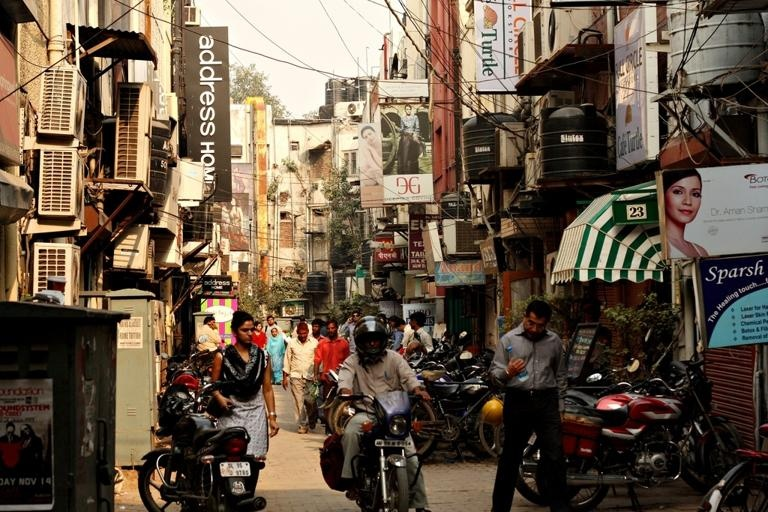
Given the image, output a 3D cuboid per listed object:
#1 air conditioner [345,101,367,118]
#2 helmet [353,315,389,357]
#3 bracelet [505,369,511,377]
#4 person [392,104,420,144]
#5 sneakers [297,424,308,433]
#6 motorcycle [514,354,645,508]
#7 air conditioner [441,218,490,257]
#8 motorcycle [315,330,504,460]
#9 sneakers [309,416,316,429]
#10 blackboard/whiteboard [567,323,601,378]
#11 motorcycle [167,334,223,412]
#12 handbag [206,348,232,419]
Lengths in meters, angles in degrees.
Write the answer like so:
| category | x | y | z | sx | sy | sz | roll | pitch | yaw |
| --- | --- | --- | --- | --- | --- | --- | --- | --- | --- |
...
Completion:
| category | x | y | z | sx | sy | sz | roll | pitch | yaw |
| --- | --- | --- | --- | --- | --- | --- | --- | --- | --- |
| air conditioner | -1.907 | -10.162 | 81.995 | 1.162 | 1.414 | 2.730 | -1 | -3 | -4 |
| helmet | -0.144 | 1.005 | 14.909 | 0.451 | 0.548 | 0.594 | -3 | -3 | 1 |
| bracelet | 1.535 | 1.443 | 14.695 | 0.063 | 0.065 | 0.064 | -3 | 4 | -16 |
| person | 0.913 | -4.659 | 41.891 | 0.716 | 1.333 | 0.514 | -2 | -3 | 3 |
| sneakers | -1.573 | 3.401 | 23.321 | 0.184 | 0.196 | 0.120 | -1 | -1 | -4 |
| motorcycle | 2.732 | 2.481 | 16.269 | 2.367 | 1.621 | 1.346 | -8 | 2 | -29 |
| air conditioner | 2.182 | -0.587 | 34.350 | 1.354 | 1.170 | 0.691 | 0 | 4 | -38 |
| motorcycle | 0.974 | 2.503 | 19.661 | 2.345 | 1.698 | 1.489 | -2 | -8 | -13 |
| sneakers | -1.399 | 3.293 | 23.567 | 0.135 | 0.214 | 0.258 | -1 | -3 | -4 |
| blackboard/whiteboard | 3.181 | 1.510 | 18.777 | 0.064 | 0.938 | 0.794 | 21 | 1 | -13 |
| motorcycle | -3.301 | 2.031 | 20.873 | 1.009 | 1.082 | 1.635 | 18 | -4 | 1 |
| handbag | -2.096 | 1.643 | 15.165 | 0.190 | 0.727 | 0.491 | 0 | -2 | -41 |
